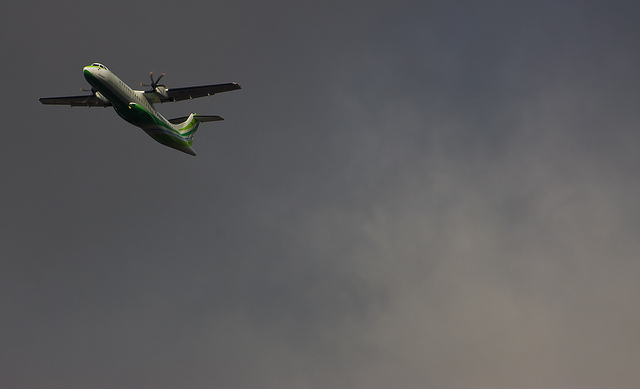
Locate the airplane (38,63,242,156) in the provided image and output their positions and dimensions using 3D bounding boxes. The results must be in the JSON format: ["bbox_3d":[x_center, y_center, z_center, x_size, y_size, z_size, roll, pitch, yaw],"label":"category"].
[{"bbox_3d":[-11.375,-5.562,63.031,11.197,3.291,10.397,-7,-33,35],"label":"airplane"}]
